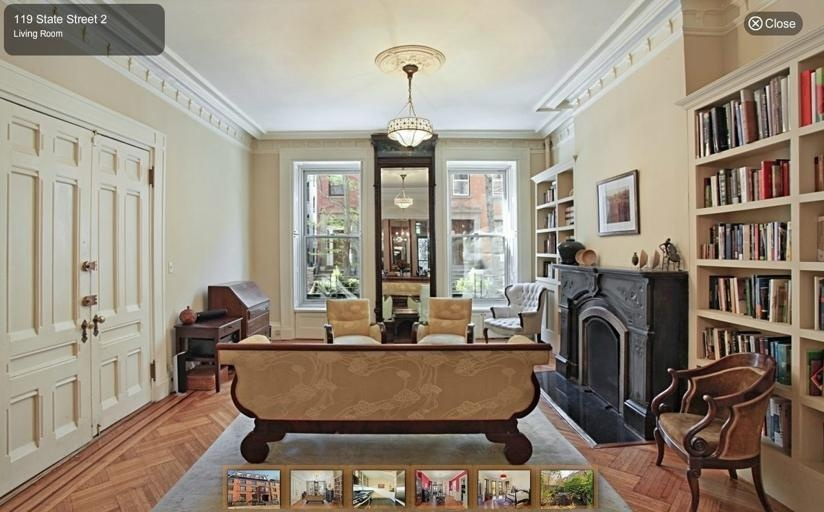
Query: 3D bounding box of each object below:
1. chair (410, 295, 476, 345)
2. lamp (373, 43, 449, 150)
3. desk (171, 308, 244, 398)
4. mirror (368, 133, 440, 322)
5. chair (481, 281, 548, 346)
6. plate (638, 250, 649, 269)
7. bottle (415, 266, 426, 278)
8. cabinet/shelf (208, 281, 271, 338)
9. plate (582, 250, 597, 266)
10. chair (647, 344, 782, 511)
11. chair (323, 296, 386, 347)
[{"bbox_3d":[0.450,0.918,7.346,0.716,0.859,0.720,-2,-12,11],"label":"chair"},{"bbox_3d":[-0.033,-2.068,6.985,1.138,1.062,1.053,-1,-4,1],"label":"lamp"},{"bbox_3d":[-2.862,1.335,7.449,0.606,0.793,0.918,2,1,2],"label":"desk"},{"bbox_3d":[-0.110,-0.664,9.144,1.223,3.393,0.409,-3,-28,4],"label":"mirror"},{"bbox_3d":[1.708,0.980,8.561,0.923,0.947,0.868,-5,5,-38],"label":"chair"},{"bbox_3d":[2.746,0.049,6.234,0.117,0.303,0.193,3,-5,20],"label":"plate"},{"bbox_3d":[0.135,0.296,9.341,0.229,0.196,0.080,-1,-4,3],"label":"bottle"},{"bbox_3d":[-2.751,0.991,8.311,0.650,1.058,1.176,2,1,0],"label":"cabinet/shelf"},{"bbox_3d":[2.439,0.019,7.228,0.171,0.144,0.175,-2,1,-44],"label":"plate"},{"bbox_3d":[2.903,1.656,5.041,0.869,1.424,0.612,-2,1,-2],"label":"chair"},{"bbox_3d":[-0.849,1.118,7.312,0.789,0.923,0.811,1,0,-21],"label":"chair"}]
